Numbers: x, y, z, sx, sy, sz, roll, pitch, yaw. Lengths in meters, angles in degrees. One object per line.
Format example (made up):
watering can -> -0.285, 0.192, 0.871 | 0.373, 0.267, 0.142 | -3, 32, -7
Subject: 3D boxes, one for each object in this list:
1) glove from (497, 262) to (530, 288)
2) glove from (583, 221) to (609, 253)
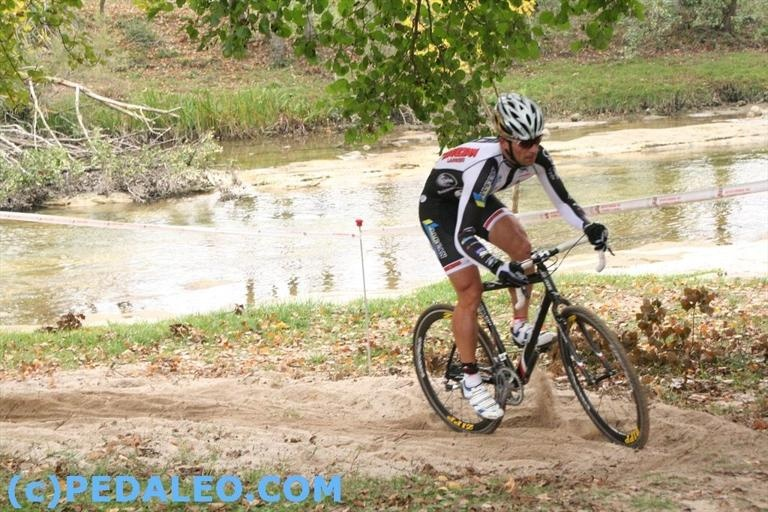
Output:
glove -> 1.820, 0.265, 14.004 | 0.428, 0.182, 0.305 | 21, 13, 5
glove -> 2.983, -0.261, 14.054 | 0.311, 0.414, 0.250 | -2, 14, 12
